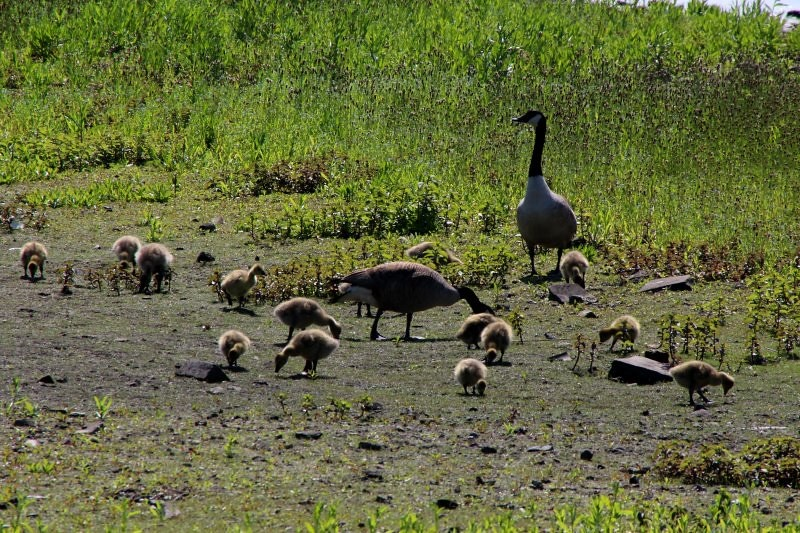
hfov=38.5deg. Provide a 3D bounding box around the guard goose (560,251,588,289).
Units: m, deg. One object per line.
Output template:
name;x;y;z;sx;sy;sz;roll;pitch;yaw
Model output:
guard goose;3.217;0.042;21.261;0.396;0.485;0.777;-4;33;9

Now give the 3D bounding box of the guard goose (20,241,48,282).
guard goose;-6.592;-0.074;20.704;0.408;0.711;0.517;2;0;-39

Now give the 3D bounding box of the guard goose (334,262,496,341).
guard goose;0.038;0.592;19.088;2.346;1.198;0.706;2;0;-4

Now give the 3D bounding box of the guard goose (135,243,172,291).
guard goose;-4.382;0.044;20.480;0.581;0.860;0.521;2;0;-41

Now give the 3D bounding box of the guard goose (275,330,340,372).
guard goose;-1.431;1.331;17.714;1.115;0.644;0.528;-13;7;-25

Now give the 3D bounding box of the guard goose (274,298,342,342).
guard goose;-1.472;0.842;18.689;1.070;0.570;0.576;20;-1;-12

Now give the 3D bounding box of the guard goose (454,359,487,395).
guard goose;1.071;1.654;17.194;0.339;0.377;0.600;-1;3;-15

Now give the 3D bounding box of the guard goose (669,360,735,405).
guard goose;4.471;1.737;17.179;0.975;0.598;0.458;10;-10;25

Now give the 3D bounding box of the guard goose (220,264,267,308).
guard goose;-2.775;0.352;20.040;1.049;0.674;0.525;-3;-10;35

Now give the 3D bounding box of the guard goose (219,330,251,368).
guard goose;-2.565;1.286;17.777;0.446;0.539;0.513;2;0;-9

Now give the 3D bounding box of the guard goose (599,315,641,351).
guard goose;3.534;1.100;18.714;0.409;0.409;0.781;12;14;41

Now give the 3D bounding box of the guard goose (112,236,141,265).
guard goose;-5.025;-0.270;21.055;0.362;0.380;0.642;1;24;-9

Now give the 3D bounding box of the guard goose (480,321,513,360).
guard goose;1.545;1.218;18.388;0.464;0.607;0.507;2;0;-5

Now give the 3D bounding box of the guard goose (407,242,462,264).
guard goose;0.655;-0.264;21.361;1.085;0.383;0.552;9;-11;-7
